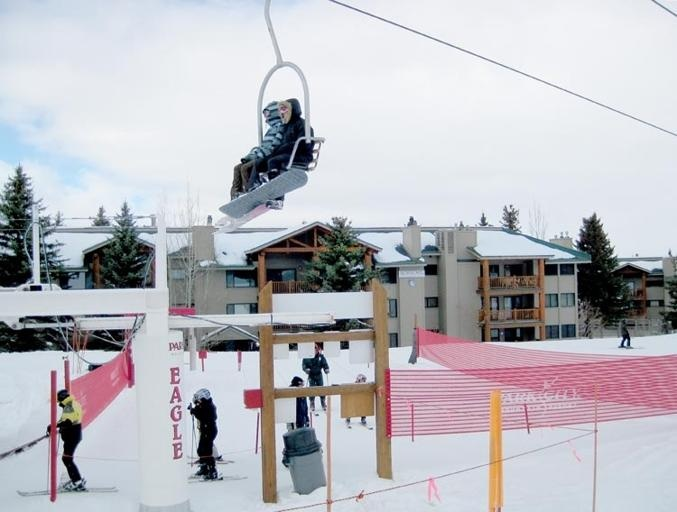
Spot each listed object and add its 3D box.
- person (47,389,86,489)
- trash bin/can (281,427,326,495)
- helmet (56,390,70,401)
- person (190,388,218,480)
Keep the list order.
[{"bbox_3d":[-6.638,4.523,26.619,0.829,2.444,0.793,0,-2,-13],"label":"person"},{"bbox_3d":[-0.873,5.165,26.815,1.208,1.667,0.983,-10,5,-13],"label":"trash bin/can"},{"bbox_3d":[-6.745,3.422,26.471,0.269,0.308,0.238,-2,-3,-4],"label":"helmet"},{"bbox_3d":[-3.376,4.542,27.450,0.681,2.266,0.645,-1,-2,-8],"label":"person"}]
